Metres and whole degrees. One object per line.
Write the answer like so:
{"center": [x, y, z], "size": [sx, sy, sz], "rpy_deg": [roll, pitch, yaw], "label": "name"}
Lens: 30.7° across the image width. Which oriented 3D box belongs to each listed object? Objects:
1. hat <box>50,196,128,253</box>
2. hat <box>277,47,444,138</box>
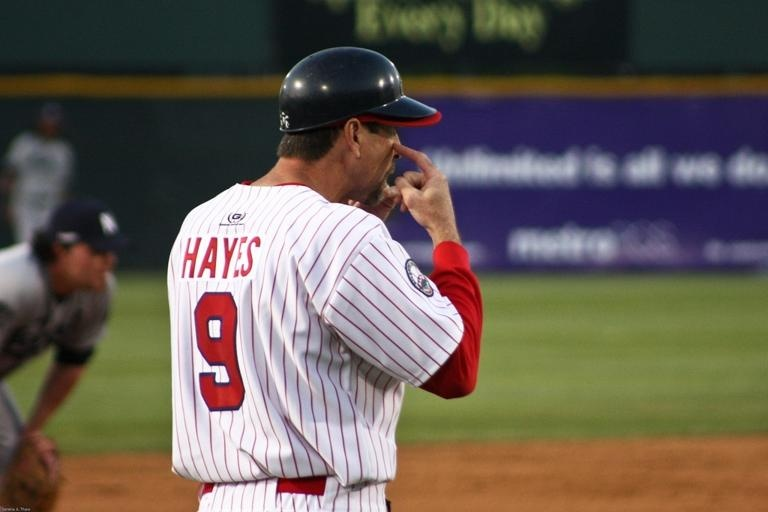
{"center": [-2.183, -0.233, 10.304], "size": [0.459, 0.262, 0.341], "rpy_deg": [6, 5, -16], "label": "hat"}
{"center": [-0.210, -0.917, 8.095], "size": [0.661, 0.321, 0.502], "rpy_deg": [-2, 3, -8], "label": "hat"}
